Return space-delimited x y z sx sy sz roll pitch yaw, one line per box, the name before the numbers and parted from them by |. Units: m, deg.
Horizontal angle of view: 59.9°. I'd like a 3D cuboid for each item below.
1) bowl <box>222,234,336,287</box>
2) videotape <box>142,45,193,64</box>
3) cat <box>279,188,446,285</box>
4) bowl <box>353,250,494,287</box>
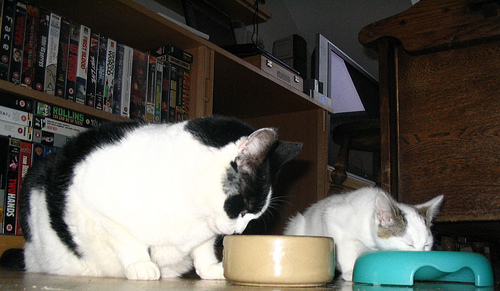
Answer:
bowl | 0.086 0.326 1.240 0.316 0.150 0.080 -2 -11 -5
videotape | -0.366 -0.429 2.024 0.107 0.028 0.111 -2 -8 39
cat | 0.423 0.360 1.885 0.642 0.335 0.344 11 -8 45
bowl | 0.499 0.353 1.314 0.209 0.048 0.205 0 -10 0
